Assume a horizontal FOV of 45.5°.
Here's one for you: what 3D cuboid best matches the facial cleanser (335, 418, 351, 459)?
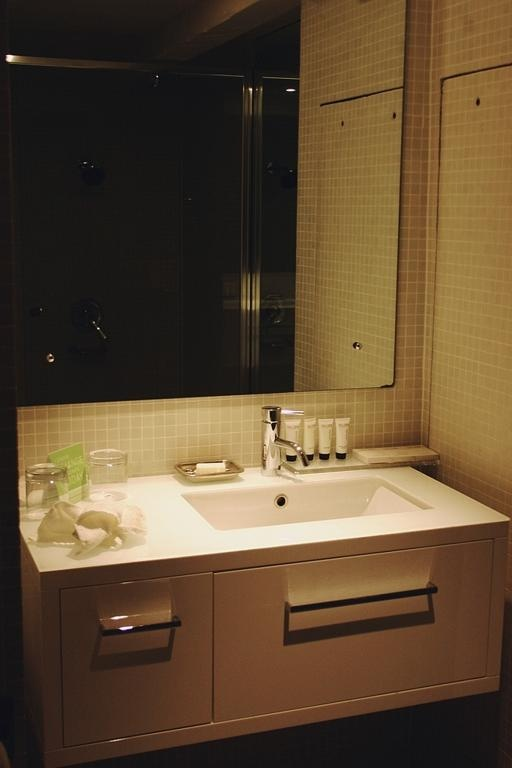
[{"bbox_3d":[0.243,0.150,1.734,0.036,0.117,0.102,4,9,13],"label":"facial cleanser"}]

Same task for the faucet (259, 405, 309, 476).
[{"bbox_3d":[0.070,0.151,1.588,0.118,0.182,0.228,3,9,1],"label":"faucet"}]

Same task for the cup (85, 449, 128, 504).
[{"bbox_3d":[-0.347,0.203,1.409,0.092,0.127,0.100,1,4,0],"label":"cup"}]

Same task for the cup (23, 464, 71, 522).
[{"bbox_3d":[-0.448,0.216,1.304,0.096,0.126,0.097,1,7,0],"label":"cup"}]

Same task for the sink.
[{"bbox_3d":[0.104,0.303,1.544,0.558,0.102,0.166,3,9,-3],"label":"sink"}]

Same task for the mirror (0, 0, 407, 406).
[{"bbox_3d":[-0.143,-0.459,1.466,0.873,1.055,0.033,-2,8,-21],"label":"mirror"}]
